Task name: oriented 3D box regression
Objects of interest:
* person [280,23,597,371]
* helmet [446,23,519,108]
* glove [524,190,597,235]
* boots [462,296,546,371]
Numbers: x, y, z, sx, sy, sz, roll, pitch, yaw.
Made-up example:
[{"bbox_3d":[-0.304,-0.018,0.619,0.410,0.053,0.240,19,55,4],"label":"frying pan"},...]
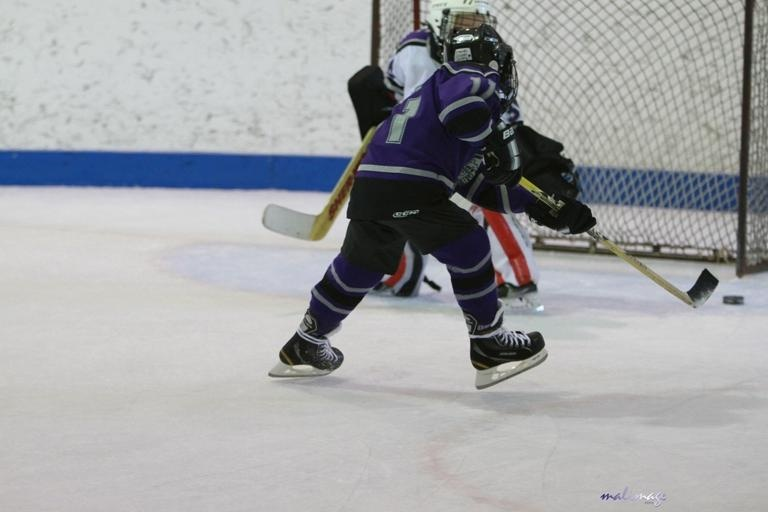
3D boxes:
[{"bbox_3d":[0.548,-0.273,3.553,1.536,1.331,0.870,-5,18,-30],"label":"person"},{"bbox_3d":[0.359,-0.693,3.357,0.296,0.255,0.180,2,-18,-10],"label":"helmet"},{"bbox_3d":[0.667,-0.185,3.568,0.287,0.089,0.199,14,7,-21],"label":"glove"},{"bbox_3d":[0.432,0.299,3.405,0.416,0.276,0.133,-4,11,-34],"label":"boots"}]
